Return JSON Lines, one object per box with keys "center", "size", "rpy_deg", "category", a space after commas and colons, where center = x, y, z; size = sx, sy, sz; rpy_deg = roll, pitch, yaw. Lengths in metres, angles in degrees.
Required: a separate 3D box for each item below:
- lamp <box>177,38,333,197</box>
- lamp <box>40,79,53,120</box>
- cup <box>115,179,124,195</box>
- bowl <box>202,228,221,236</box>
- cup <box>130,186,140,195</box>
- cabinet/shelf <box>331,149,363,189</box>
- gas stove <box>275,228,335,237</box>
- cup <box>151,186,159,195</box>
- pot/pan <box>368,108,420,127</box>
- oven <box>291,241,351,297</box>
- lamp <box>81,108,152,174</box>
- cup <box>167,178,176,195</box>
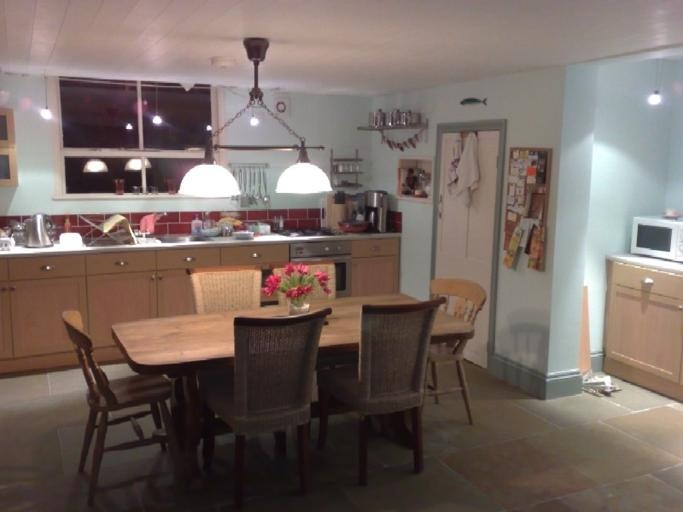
{"center": [-0.535, -0.849, 3.144], "size": [0.990, 0.872, 0.349], "rpy_deg": [-3, 20, -12], "category": "lamp"}
{"center": [-2.993, -1.605, 5.137], "size": [0.118, 0.445, 0.309], "rpy_deg": [-7, 15, -28], "category": "lamp"}
{"center": [-2.473, -0.781, 5.685], "size": [0.107, 0.166, 0.186], "rpy_deg": [-5, 14, -22], "category": "cup"}
{"center": [-1.439, -0.266, 5.633], "size": [0.201, 0.084, 0.109], "rpy_deg": [-2, 13, -13], "category": "bowl"}
{"center": [-2.320, -0.743, 5.750], "size": [0.107, 0.104, 0.079], "rpy_deg": [-1, 8, -15], "category": "cup"}
{"center": [0.073, -1.120, 6.538], "size": [0.449, 0.504, 0.223], "rpy_deg": [-2, 13, -11], "category": "cabinet/shelf"}
{"center": [-0.433, -0.282, 6.010], "size": [0.644, 0.023, 0.529], "rpy_deg": [-3, 13, -16], "category": "gas stove"}
{"center": [-2.144, -0.761, 5.825], "size": [0.060, 0.097, 0.095], "rpy_deg": [0, -1, 7], "category": "cup"}
{"center": [0.629, -1.570, 5.893], "size": [0.278, 0.144, 0.481], "rpy_deg": [-5, 6, -45], "category": "pot/pan"}
{"center": [-0.203, 0.213, 6.052], "size": [0.744, 0.701, 0.565], "rpy_deg": [-4, -11, 12], "category": "oven"}
{"center": [-2.493, -1.176, 5.647], "size": [0.706, 0.498, 0.301], "rpy_deg": [-7, 15, -30], "category": "lamp"}
{"center": [-1.981, -0.816, 5.936], "size": [0.118, 0.172, 0.237], "rpy_deg": [-4, 13, -18], "category": "cup"}
